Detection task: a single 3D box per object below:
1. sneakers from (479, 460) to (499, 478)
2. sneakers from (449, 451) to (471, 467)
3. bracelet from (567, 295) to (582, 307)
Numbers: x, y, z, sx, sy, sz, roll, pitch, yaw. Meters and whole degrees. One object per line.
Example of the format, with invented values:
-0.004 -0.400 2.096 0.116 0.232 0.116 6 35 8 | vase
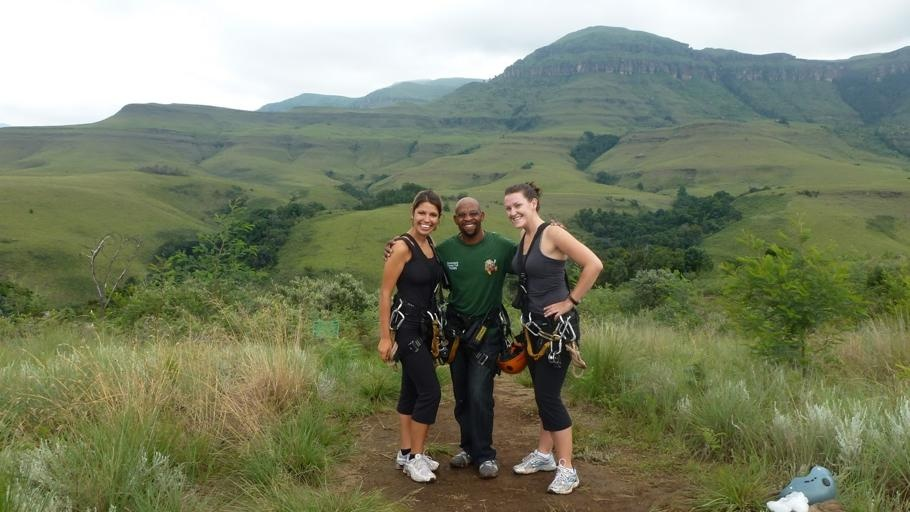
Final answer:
0.546 3.317 9.272 0.179 0.148 0.356 8 1 -2 | sneakers
0.102 3.271 9.505 0.195 0.155 0.362 6 5 10 | sneakers
1.807 0.653 8.932 0.158 0.045 0.171 32 -7 44 | bracelet
